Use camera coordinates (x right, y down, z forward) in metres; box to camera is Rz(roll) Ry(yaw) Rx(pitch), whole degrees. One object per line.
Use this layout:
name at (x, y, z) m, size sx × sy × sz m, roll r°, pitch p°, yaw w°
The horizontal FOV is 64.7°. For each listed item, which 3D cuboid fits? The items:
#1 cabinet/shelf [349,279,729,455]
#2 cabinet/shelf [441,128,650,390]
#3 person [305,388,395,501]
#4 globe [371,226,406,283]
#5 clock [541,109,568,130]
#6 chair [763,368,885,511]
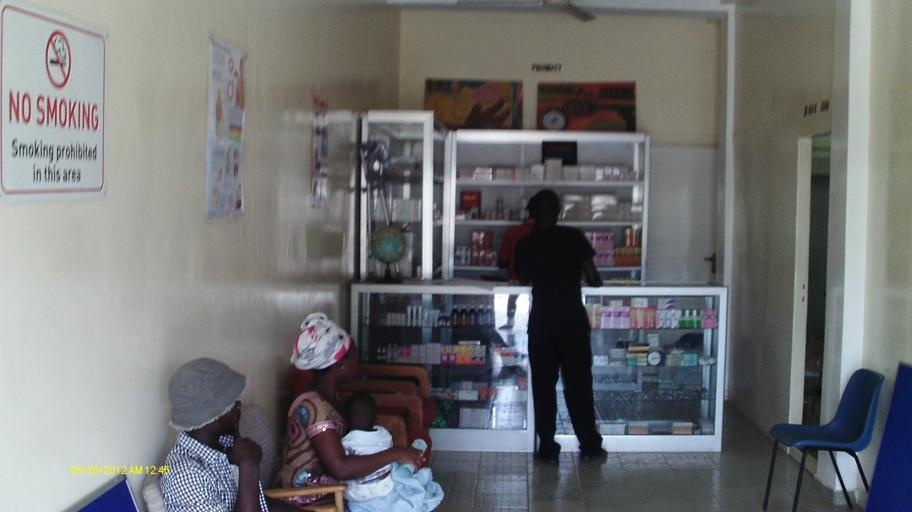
cabinet/shelf at (0.767, 1.112, 7.435) m, size 3.718 × 1.547 × 0.794 m, roll 0°, pitch -5°, yaw -2°
cabinet/shelf at (0.957, 0.062, 7.691) m, size 3.076 × 3.169 × 1.094 m, roll 1°, pitch 2°, yaw 0°
person at (-0.695, 1.297, 5.152) m, size 0.526 × 0.959 × 0.654 m, roll -5°, pitch 15°, yaw -7°
globe at (-0.667, -0.035, 7.048) m, size 0.331 × 0.531 × 0.290 m, roll -2°, pitch 5°, yaw -7°
clock at (1.244, -1.750, 9.139) m, size 0.294 × 0.243 × 0.062 m, roll -1°, pitch 5°, yaw 6°
chair at (3.060, 1.538, 5.899) m, size 0.842 × 1.202 × 0.508 m, roll 0°, pitch 5°, yaw 18°
